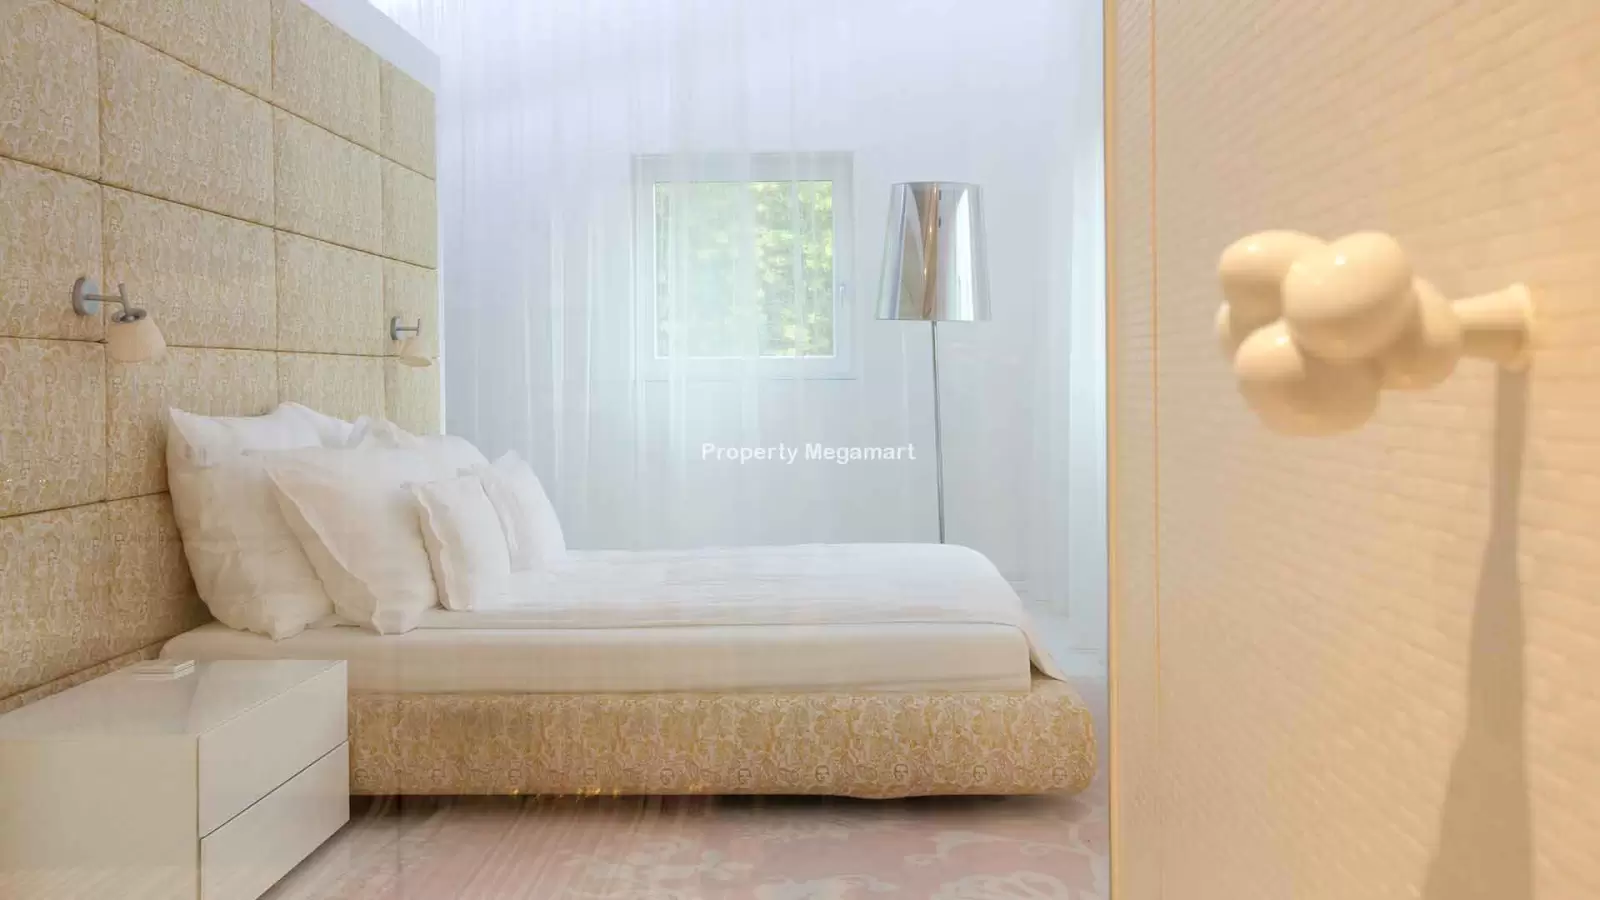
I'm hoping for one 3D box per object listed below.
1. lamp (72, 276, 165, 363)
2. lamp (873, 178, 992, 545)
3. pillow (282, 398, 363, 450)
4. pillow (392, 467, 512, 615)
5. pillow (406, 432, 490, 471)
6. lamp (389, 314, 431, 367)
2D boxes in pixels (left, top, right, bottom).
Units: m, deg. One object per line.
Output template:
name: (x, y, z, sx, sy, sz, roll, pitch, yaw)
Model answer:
lamp: (-1.454, -0.281, 2.140, 0.187, 0.139, 0.099, 15, 33, 21)
lamp: (0.294, -0.193, 2.101, 0.190, 0.733, 0.178, 4, -11, -38)
pillow: (-1.051, -0.054, 2.203, 0.126, 0.105, 0.034, 6, 7, 4)
pillow: (-0.746, 0.207, 2.135, 0.135, 0.292, 0.279, -9, 4, 28)
pillow: (-0.755, 0.002, 2.129, 0.125, 0.071, 0.028, 8, -11, -18)
lamp: (-0.841, -0.233, 2.161, 0.111, 0.105, 0.097, 1, -1, -2)
